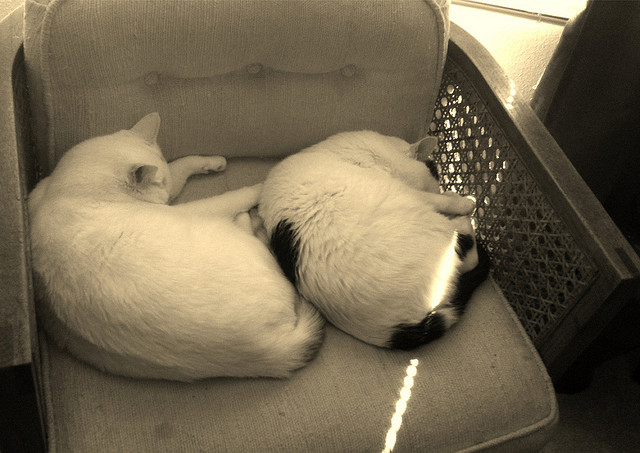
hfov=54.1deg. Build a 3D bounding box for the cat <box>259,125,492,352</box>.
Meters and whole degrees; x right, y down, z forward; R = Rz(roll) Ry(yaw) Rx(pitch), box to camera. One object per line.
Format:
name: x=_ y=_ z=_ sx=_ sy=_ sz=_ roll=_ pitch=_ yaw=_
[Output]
cat: x=0.297 y=0.040 z=2.763 sx=0.971 sy=0.373 sz=1.220 roll=-23 pitch=28 yaw=12
